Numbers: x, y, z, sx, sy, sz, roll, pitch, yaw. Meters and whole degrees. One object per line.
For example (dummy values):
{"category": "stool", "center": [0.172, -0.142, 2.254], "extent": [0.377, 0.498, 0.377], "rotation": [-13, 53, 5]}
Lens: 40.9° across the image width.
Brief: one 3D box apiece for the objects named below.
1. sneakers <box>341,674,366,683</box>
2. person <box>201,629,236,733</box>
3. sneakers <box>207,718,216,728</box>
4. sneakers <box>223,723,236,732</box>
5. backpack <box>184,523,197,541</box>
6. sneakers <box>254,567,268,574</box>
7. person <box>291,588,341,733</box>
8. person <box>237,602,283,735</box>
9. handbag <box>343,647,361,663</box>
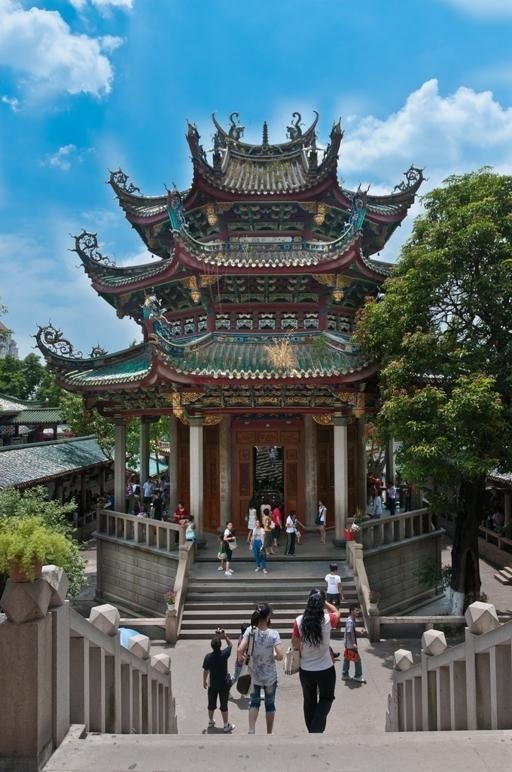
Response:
{"category": "sneakers", "center": [1.625, 4.882, 11.432], "extent": [0.404, 0.168, 0.136], "rotation": [-5, -13, 18]}
{"category": "person", "center": [-0.534, 4.135, 9.802], "extent": [0.419, 1.491, 1.399], "rotation": [0, -5, -3]}
{"category": "sneakers", "center": [-0.632, 4.731, 9.619], "extent": [0.075, 0.072, 0.175], "rotation": [0, -5, 6]}
{"category": "sneakers", "center": [-0.377, 4.737, 9.548], "extent": [0.075, 0.127, 0.204], "rotation": [-5, -9, 29]}
{"category": "backpack", "center": [-1.537, 3.367, 15.821], "extent": [0.171, 0.419, 0.354], "rotation": [0, -5, 0]}
{"category": "sneakers", "center": [0.108, 4.192, 15.556], "extent": [0.103, 0.138, 0.331], "rotation": [7, -27, -24]}
{"category": "person", "center": [0.632, 2.986, 7.353], "extent": [0.481, 1.540, 0.563], "rotation": [-1, -5, 6]}
{"category": "person", "center": [0.035, 3.290, 7.883], "extent": [0.610, 1.430, 0.529], "rotation": [6, -12, -27]}
{"category": "handbag", "center": [1.574, 4.445, 11.281], "extent": [0.238, 0.310, 0.321], "rotation": [0, -5, -9]}
